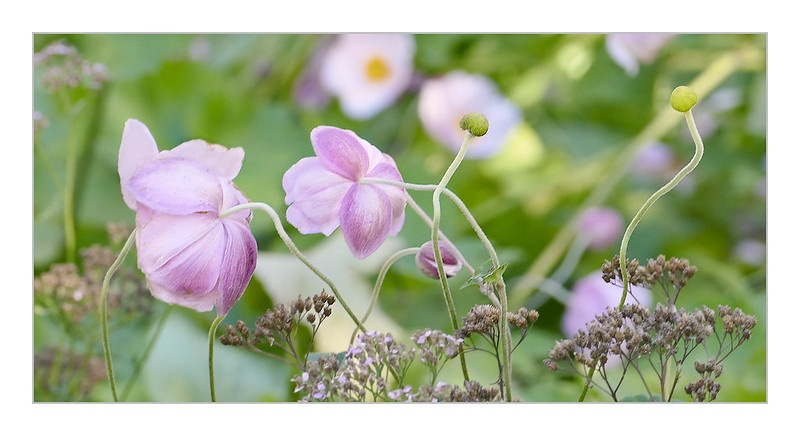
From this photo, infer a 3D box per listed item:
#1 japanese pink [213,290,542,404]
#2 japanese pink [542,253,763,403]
[{"bbox_3d":[-0.035,0.264,1.684,0.599,0.236,0.242,-5,-8,2],"label":"japanese pink"},{"bbox_3d":[0.501,0.225,1.668,0.420,0.306,0.295,-6,-8,11],"label":"japanese pink"}]
